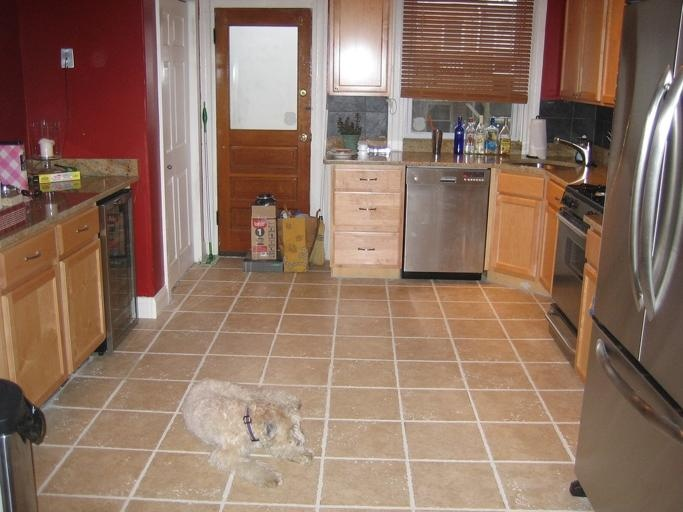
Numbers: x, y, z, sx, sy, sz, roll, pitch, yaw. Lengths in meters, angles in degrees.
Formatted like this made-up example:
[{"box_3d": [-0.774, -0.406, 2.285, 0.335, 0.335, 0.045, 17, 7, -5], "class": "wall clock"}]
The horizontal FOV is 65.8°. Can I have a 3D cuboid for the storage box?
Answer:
[{"box_3d": [-0.427, -0.137, 5.318, 0.823, 0.990, 0.525, 0, -2, -2], "class": "storage box"}]

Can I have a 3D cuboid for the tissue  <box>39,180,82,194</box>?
[{"box_3d": [-1.801, -0.448, 3.418, 0.247, 0.029, 0.312, -10, 21, -29], "class": "tissue "}]

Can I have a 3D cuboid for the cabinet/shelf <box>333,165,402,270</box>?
[{"box_3d": [0.251, -0.424, 5.134, 0.674, 1.108, 0.632, 1, 23, 1], "class": "cabinet/shelf"}]

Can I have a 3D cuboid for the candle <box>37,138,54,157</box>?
[{"box_3d": [-1.997, -0.733, 3.600, 0.095, 0.130, 0.134, -10, 21, -28], "class": "candle"}]

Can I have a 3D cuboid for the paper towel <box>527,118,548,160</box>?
[{"box_3d": [1.867, -1.112, 5.004, 0.168, 0.359, 0.207, 6, 19, 18], "class": "paper towel"}]

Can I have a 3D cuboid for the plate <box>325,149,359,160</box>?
[{"box_3d": [0.008, -0.958, 4.942, 0.288, 0.072, 0.202, 0, 18, 0], "class": "plate"}]
